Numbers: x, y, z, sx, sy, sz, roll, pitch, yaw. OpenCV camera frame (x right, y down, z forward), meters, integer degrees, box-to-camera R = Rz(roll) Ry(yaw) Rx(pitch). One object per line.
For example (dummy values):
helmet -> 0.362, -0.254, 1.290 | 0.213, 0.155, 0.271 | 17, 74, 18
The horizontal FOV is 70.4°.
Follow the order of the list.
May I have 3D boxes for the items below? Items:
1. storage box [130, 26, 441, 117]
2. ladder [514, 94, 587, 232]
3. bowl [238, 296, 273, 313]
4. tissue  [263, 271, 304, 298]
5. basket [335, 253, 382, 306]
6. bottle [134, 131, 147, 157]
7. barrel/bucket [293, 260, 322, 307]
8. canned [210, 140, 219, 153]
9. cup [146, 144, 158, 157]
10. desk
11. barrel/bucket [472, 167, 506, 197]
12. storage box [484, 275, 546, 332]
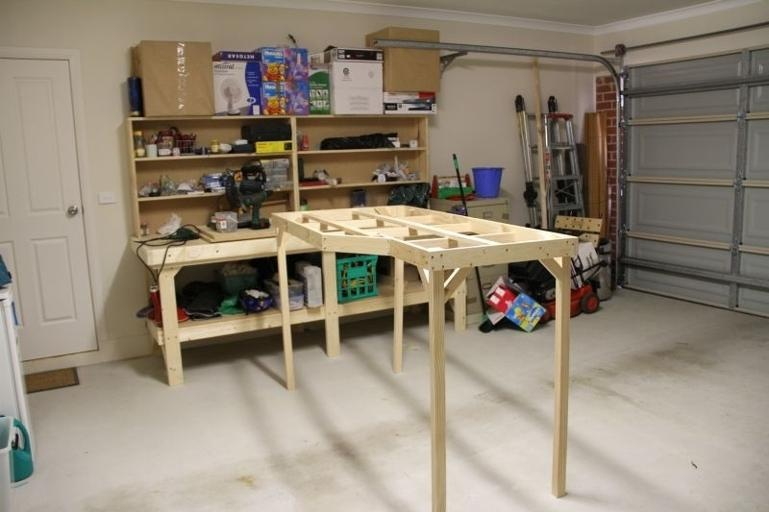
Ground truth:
storage box -> -0.896, -1.878, 5.556 | 3.071, 0.864, 0.470 | -8, 14, -22
ladder -> 2.153, -1.238, 6.961 | 0.984, 1.626, 0.614 | -12, 16, -34
bowl -> -1.224, 0.437, 5.163 | 0.205, 0.087, 0.198 | -2, 3, 0
tissue  -> -0.993, 0.273, 5.325 | 0.212, 0.115, 0.363 | -2, 5, -28
basket -> -0.305, 0.205, 5.560 | 0.474, 0.428, 0.467 | -6, 11, -10
bottle -> -2.319, -1.069, 5.153 | 0.101, 0.259, 0.237 | -7, 14, -18
barrel/bucket -> -0.730, 0.321, 5.488 | 0.155, 0.365, 0.411 | -6, -6, -10
canned -> -1.670, -1.080, 5.348 | 0.077, 0.121, 0.225 | -7, 14, -16
cup -> -2.190, -0.996, 5.130 | 0.106, 0.126, 0.095 | -8, 14, -22
desk -> -0.597, 0.632, 5.660 | 3.621, 1.538, 0.879 | 7, -30, -40
barrel/bucket -> 1.200, -0.866, 6.374 | 0.377, 0.271, 0.345 | -2, 7, 0
storage box -> 1.395, 0.525, 5.832 | 0.509, 0.473, 0.347 | 14, 3, -4
